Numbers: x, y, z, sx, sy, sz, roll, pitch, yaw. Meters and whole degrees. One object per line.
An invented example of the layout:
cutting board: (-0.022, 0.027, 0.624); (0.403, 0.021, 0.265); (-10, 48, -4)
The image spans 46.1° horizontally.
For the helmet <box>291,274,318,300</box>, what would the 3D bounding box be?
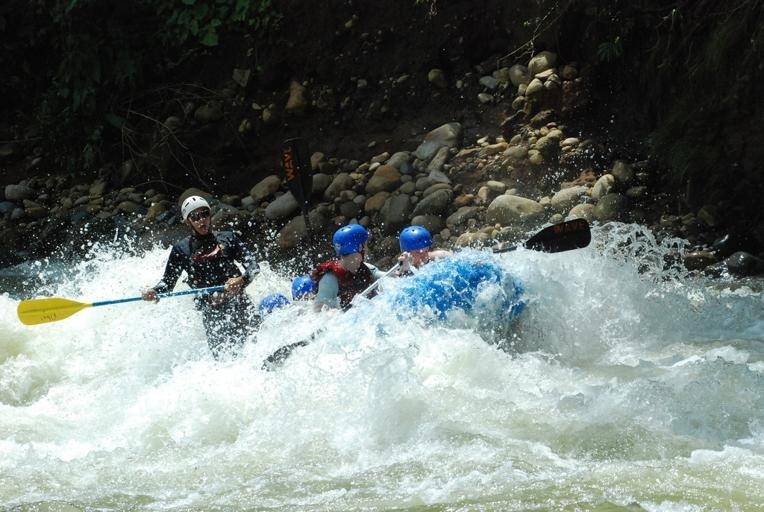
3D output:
helmet: (-0.886, 0.359, 10.453); (0.305, 0.313, 0.308); (-2, -5, -3)

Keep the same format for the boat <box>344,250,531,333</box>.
boat: (0.652, 0.376, 9.614); (1.363, 0.611, 0.907); (-13, 14, -9)

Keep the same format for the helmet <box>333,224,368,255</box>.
helmet: (-0.310, -0.205, 10.119); (0.380, 0.292, 0.277); (-21, 16, 10)

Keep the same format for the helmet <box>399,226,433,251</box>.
helmet: (0.390, -0.194, 10.177); (0.325, 0.265, 0.244); (-8, 5, 27)

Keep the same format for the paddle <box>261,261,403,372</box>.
paddle: (-0.486, 0.684, 9.726); (2.019, 0.220, 0.156); (-35, 10, -29)

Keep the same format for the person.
person: (-0.918, 0.276, 10.855); (1.099, 2.129, 0.713); (-32, -5, -19)
